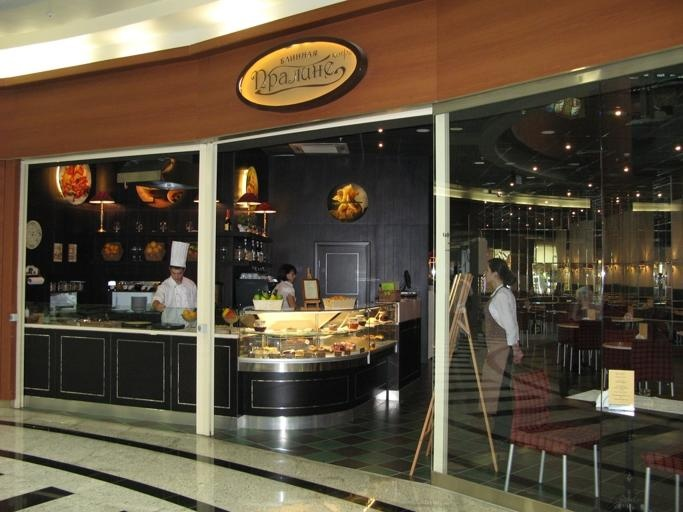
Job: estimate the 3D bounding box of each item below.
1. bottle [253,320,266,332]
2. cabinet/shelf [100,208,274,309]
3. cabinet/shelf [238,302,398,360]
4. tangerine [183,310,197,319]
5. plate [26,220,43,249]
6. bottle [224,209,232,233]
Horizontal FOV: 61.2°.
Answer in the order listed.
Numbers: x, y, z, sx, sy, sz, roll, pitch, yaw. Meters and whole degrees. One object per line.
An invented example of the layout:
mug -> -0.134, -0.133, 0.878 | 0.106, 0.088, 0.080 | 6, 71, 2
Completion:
bottle -> -0.904, 0.786, 6.530 | 0.137, 0.115, 0.120 | 1, -10, 2
cabinet/shelf -> -2.467, 0.096, 9.950 | 2.789, 2.264, 1.743 | 1, 3, 16
cabinet/shelf -> -0.362, 0.896, 6.651 | 1.541, 0.548, 0.188 | 0, 3, -19
tangerine -> -1.709, 0.677, 6.692 | 0.119, 0.073, 0.118 | 2, -3, 2
plate -> -4.075, -0.282, 7.792 | 0.105, 0.397, 0.564 | 0, 3, -17
bottle -> -1.809, -0.583, 9.352 | 0.100, 0.335, 0.118 | 1, 3, -4
